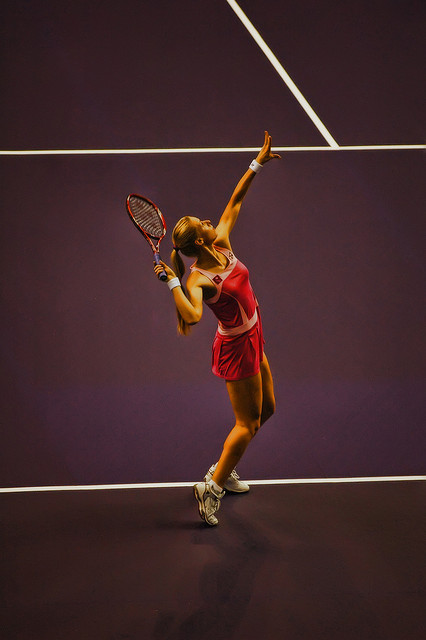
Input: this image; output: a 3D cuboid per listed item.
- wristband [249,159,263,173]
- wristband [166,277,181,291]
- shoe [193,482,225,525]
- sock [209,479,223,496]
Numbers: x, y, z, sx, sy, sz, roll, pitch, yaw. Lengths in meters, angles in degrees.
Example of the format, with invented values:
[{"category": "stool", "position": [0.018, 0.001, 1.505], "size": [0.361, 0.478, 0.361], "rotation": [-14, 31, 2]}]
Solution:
[{"category": "wristband", "position": [0.197, -0.713, 2.888], "size": [0.049, 0.039, 0.057], "rotation": [34, 16, -7]}, {"category": "wristband", "position": [-0.153, -0.141, 2.424], "size": [0.045, 0.032, 0.048], "rotation": [-25, -9, 33]}, {"category": "shoe", "position": [-0.029, 0.782, 2.671], "size": [0.121, 0.174, 0.145], "rotation": [9, -9, 3]}, {"category": "sock", "position": [0.010, 0.714, 2.652], "size": [0.046, 0.048, 0.060], "rotation": [26, -3, 38]}]
